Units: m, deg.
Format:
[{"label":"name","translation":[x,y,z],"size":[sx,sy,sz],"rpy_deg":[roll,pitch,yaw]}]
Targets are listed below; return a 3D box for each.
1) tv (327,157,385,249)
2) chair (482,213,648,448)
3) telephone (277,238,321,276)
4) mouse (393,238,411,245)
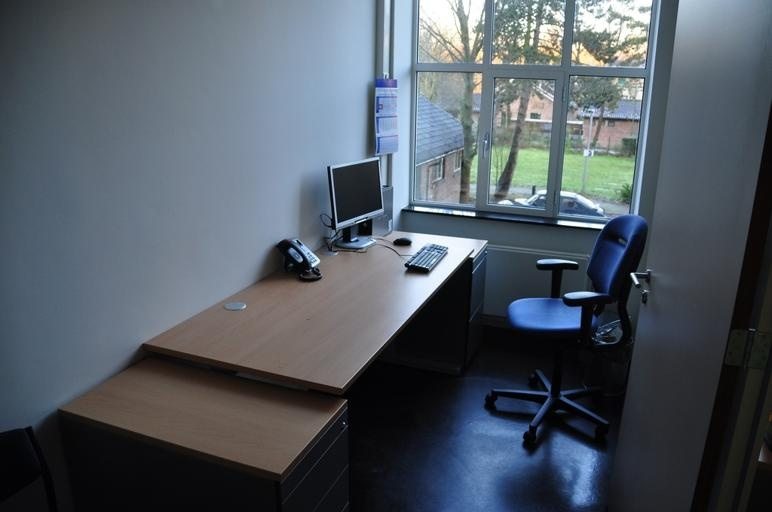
[{"label":"tv","translation":[-0.239,-0.394,4.030],"size":[0.193,0.460,0.596],"rpy_deg":[6,21,20]},{"label":"chair","translation":[1.221,0.473,3.790],"size":[0.929,1.514,0.882],"rpy_deg":[5,18,17]},{"label":"telephone","translation":[-0.595,0.059,3.571],"size":[0.290,0.101,0.203],"rpy_deg":[41,35,-12]},{"label":"mouse","translation":[0.126,-0.117,4.186],"size":[0.107,0.036,0.059],"rpy_deg":[3,12,12]}]
